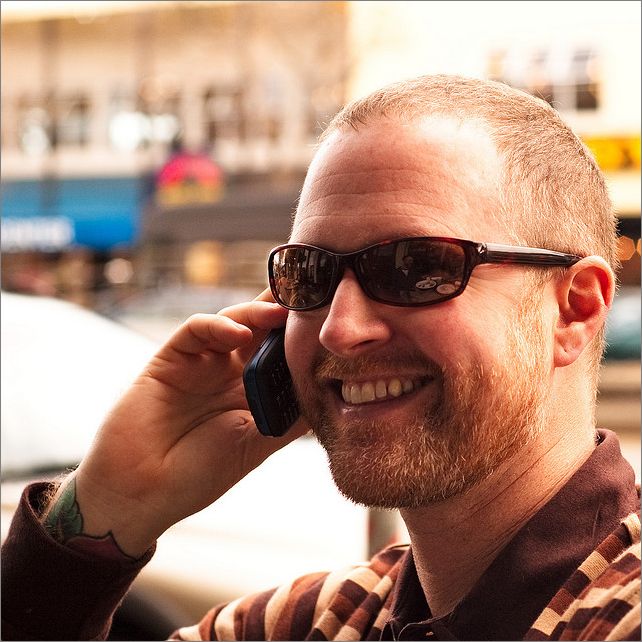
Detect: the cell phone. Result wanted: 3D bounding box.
[{"bbox_3d":[-0.148,0.191,2.935,0.071,0.294,0.160,1,23,30],"label":"cell phone"}]
